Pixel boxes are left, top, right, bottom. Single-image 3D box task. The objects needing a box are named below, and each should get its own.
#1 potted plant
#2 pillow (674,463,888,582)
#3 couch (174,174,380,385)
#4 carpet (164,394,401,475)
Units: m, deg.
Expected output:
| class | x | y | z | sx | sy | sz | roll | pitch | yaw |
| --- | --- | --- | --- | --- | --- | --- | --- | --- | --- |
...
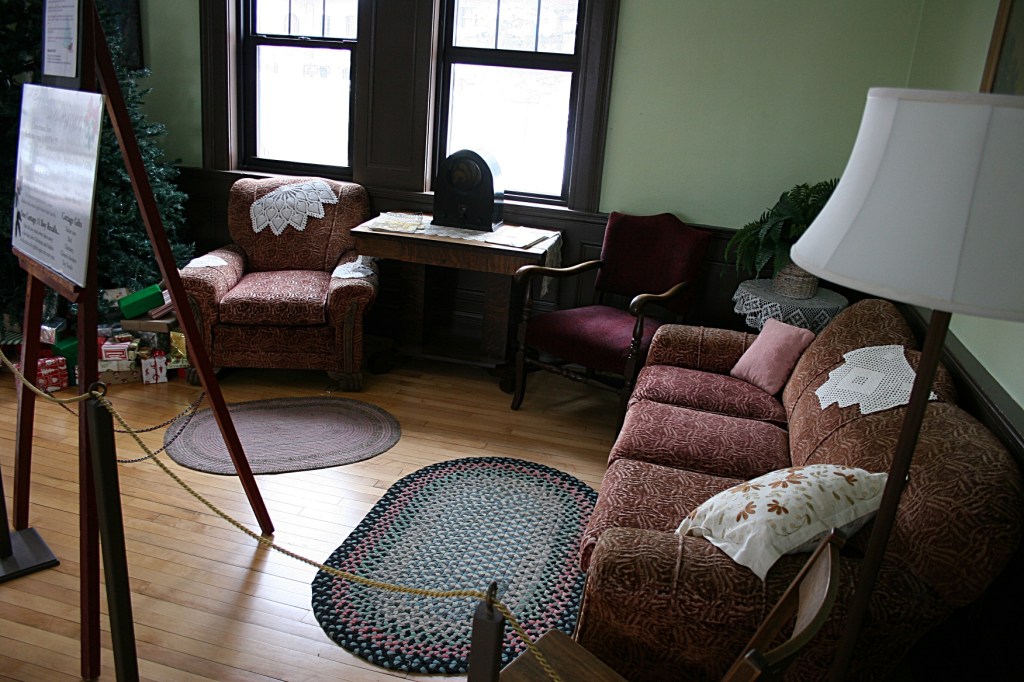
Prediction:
| class | x | y | z | sx | sy | sz | roll | pitch | yaw |
| --- | --- | --- | --- | --- | --- | --- | --- | --- | --- |
| potted plant | 1.484 | -0.575 | 4.451 | 0.812 | 0.556 | 0.782 | 4 | 10 | 33 |
| pillow | 0.879 | 0.552 | 2.419 | 0.446 | 0.133 | 0.444 | -28 | 4 | 38 |
| couch | -1.448 | -0.411 | 5.001 | 1.482 | 1.380 | 1.285 | 1 | 22 | -3 |
| carpet | -1.265 | 0.496 | 4.128 | 1.260 | 0.058 | 0.815 | -3 | 22 | -17 |
